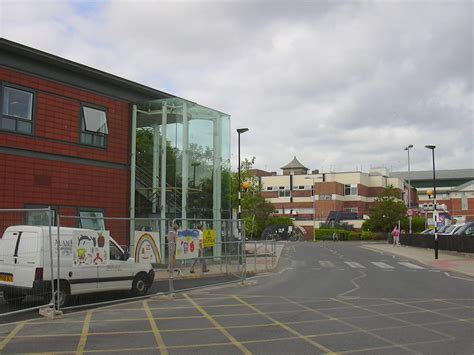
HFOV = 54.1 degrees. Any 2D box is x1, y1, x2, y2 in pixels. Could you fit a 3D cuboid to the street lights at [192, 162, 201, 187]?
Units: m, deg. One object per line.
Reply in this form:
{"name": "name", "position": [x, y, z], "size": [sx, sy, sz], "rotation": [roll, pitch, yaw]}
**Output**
{"name": "street lights", "position": [-2.306, -0.225, 26.316], "size": [0.051, 1.419, 0.632], "rotation": [-8, -9, 33]}
